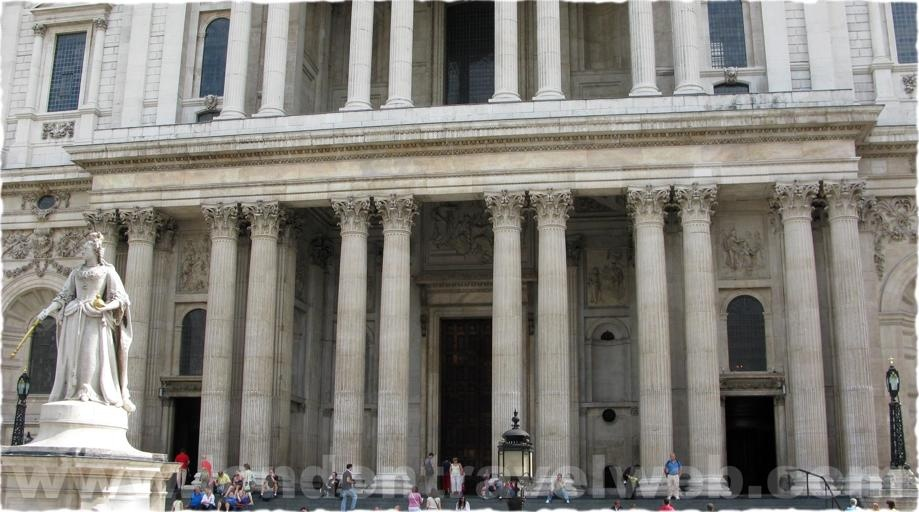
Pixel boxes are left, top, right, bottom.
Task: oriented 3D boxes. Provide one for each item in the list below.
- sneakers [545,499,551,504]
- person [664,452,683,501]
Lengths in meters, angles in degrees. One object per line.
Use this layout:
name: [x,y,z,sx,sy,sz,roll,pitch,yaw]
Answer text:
sneakers: [4.384,11.790,52.901,0.267,0.159,0.471,-3,-11,2]
person: [10.478,10.700,53.677,0.758,2.198,1.015,-5,-12,7]
